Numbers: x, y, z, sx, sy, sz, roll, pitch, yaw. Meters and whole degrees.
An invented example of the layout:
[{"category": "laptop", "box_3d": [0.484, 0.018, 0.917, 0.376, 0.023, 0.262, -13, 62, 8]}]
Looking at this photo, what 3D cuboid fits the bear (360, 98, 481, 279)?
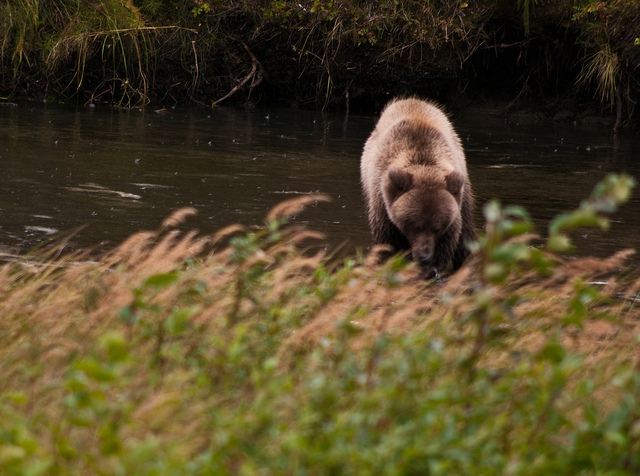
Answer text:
[{"category": "bear", "box_3d": [1.104, -0.583, 8.680, 1.099, 1.766, 1.998, 3, 9, -1]}]
